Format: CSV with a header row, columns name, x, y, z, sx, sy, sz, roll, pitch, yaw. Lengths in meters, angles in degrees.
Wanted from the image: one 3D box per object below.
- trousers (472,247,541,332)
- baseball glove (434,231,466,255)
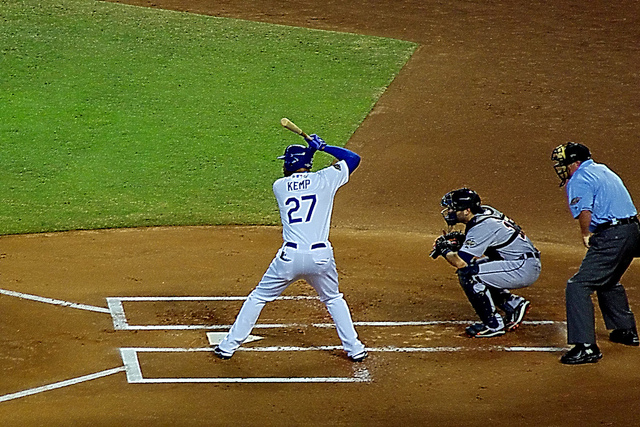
name,x,y,z,sx,sy,sz,roll,pitch,yaw
trousers,3.297,1.288,19.790,1.715,1.493,0.918,1,-2,10
baseball glove,2.325,0.486,19.984,0.509,0.438,0.610,8,23,6
